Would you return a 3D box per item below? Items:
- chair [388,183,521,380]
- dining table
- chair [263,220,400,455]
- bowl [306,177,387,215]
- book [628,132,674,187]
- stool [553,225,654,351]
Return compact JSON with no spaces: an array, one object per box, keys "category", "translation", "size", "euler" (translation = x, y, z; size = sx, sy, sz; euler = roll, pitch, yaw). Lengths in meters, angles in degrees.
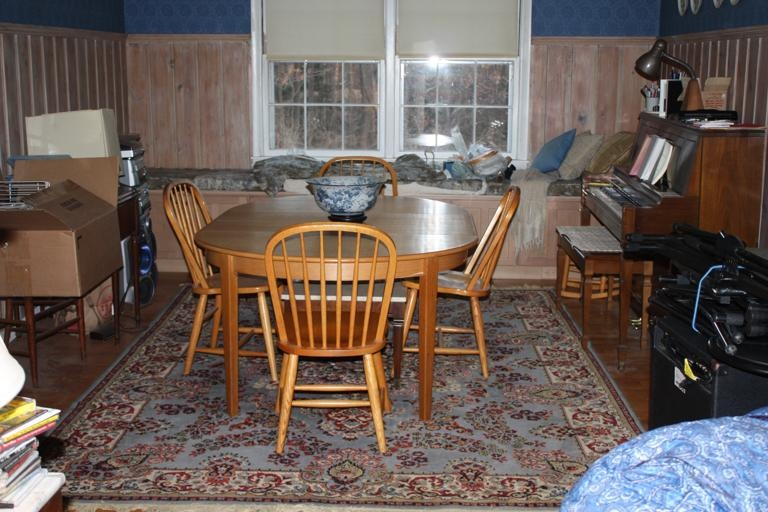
[{"category":"chair","translation":[0.401,0.154,3.634],"size":[0.881,1.006,0.754],"euler":[-2,7,-16]},{"category":"dining table","translation":[-0.261,0.357,3.455],"size":[1.533,0.756,1.467],"euler":[-1,2,-16]},{"category":"chair","translation":[-0.265,0.325,3.012],"size":[0.646,1.144,0.772],"euler":[-2,17,-3]},{"category":"bowl","translation":[-0.206,-0.343,3.397],"size":[0.478,0.174,0.457],"euler":[1,11,0]},{"category":"book","translation":[1.902,-0.664,4.119],"size":[0.104,0.342,0.345],"euler":[9,20,-27]},{"category":"stool","translation":[1.525,0.234,4.050],"size":[0.341,0.390,0.867],"euler":[-2,13,2]}]
